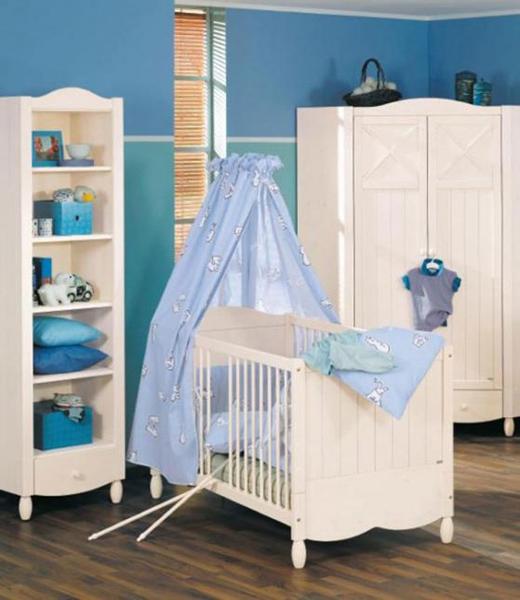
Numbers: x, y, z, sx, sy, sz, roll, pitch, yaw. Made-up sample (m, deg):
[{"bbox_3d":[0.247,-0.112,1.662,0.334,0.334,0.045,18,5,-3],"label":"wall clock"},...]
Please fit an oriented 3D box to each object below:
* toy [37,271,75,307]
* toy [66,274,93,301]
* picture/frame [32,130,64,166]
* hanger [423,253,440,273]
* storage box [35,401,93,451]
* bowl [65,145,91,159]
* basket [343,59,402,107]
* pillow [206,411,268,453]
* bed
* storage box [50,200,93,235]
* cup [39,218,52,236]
[{"bbox_3d":[-0.878,-0.035,3.311,0.156,0.132,0.111,-4,5,-42],"label":"toy"},{"bbox_3d":[-0.805,-0.047,3.406,0.121,0.112,0.084,-4,9,-23],"label":"toy"},{"bbox_3d":[-0.916,-0.645,3.313,0.012,0.190,0.194,-11,-8,41],"label":"picture/frame"},{"bbox_3d":[0.977,-0.206,4.417,0.077,0.099,0.037,0,-16,14],"label":"hanger"},{"bbox_3d":[-0.877,0.539,3.370,0.204,0.138,0.199,-1,2,-33],"label":"storage box"},{"bbox_3d":[-0.795,-0.645,3.383,0.087,0.046,0.086,1,5,0],"label":"bowl"},{"bbox_3d":[0.700,-1.264,4.549,0.297,0.249,0.158,-2,20,37],"label":"basket"},{"bbox_3d":[-0.108,0.526,3.064,0.213,0.069,0.220,-9,9,24],"label":"pillow"},{"bbox_3d":[0.196,0.436,3.344,0.804,0.890,1.244,-5,8,-30],"label":"bed"},{"bbox_3d":[-0.801,-0.328,3.346,0.189,0.181,0.139,-3,5,-41],"label":"storage box"},{"bbox_3d":[-0.910,-0.301,3.272,0.066,0.063,0.067,-1,4,0],"label":"cup"}]
